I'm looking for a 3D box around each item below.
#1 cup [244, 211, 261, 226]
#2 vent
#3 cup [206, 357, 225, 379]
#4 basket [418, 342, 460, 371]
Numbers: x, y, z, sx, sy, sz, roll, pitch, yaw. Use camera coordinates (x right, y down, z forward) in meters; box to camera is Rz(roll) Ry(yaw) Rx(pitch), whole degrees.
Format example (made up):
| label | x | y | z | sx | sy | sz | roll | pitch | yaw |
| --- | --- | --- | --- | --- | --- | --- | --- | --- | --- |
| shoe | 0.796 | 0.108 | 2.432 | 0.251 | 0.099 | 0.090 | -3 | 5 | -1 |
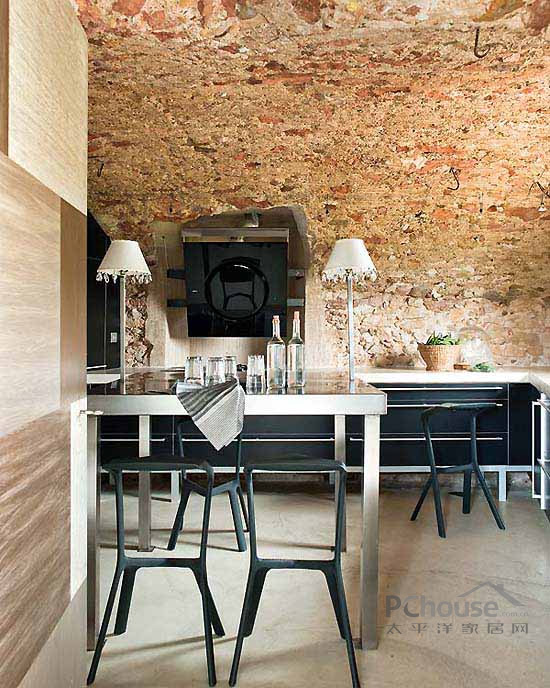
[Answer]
| label | x | y | z | sx | sy | sz | roll | pitch | yaw |
| --- | --- | --- | --- | --- | --- | --- | --- | --- | --- |
| cup | -0.179 | -0.981 | 4.633 | 0.143 | 0.135 | 0.103 | 0 | 3 | -4 |
| vent | -0.370 | -0.466 | 4.840 | 0.896 | 0.820 | 0.470 | -2 | 8 | -18 |
| cup | -0.244 | 0.102 | 2.385 | 0.073 | 0.097 | 0.154 | 0 | 0 | -6 |
| basket | 1.290 | 0.099 | 4.479 | 0.303 | 0.199 | 0.237 | -1 | 0 | -28 |
